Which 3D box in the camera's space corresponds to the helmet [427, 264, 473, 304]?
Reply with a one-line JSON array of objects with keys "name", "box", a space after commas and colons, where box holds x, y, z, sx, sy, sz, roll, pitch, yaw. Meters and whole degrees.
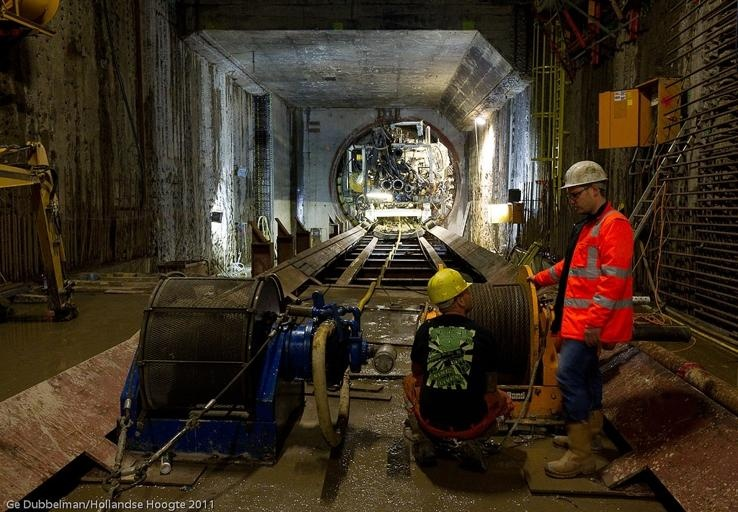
[{"name": "helmet", "box": [0.590, 0.174, 3.975, 0.367, 0.254, 0.301, -22, 8, -19]}]

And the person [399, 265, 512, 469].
[{"name": "person", "box": [0.645, 0.830, 3.959, 0.748, 1.466, 0.372, -1, 6, 3]}]

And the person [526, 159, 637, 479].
[{"name": "person", "box": [1.642, 0.441, 4.004, 0.611, 2.304, 0.669, 0, 6, 13]}]

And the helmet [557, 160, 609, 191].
[{"name": "helmet", "box": [1.614, -0.610, 3.999, 0.307, 0.166, 0.237, -6, 6, -4]}]
